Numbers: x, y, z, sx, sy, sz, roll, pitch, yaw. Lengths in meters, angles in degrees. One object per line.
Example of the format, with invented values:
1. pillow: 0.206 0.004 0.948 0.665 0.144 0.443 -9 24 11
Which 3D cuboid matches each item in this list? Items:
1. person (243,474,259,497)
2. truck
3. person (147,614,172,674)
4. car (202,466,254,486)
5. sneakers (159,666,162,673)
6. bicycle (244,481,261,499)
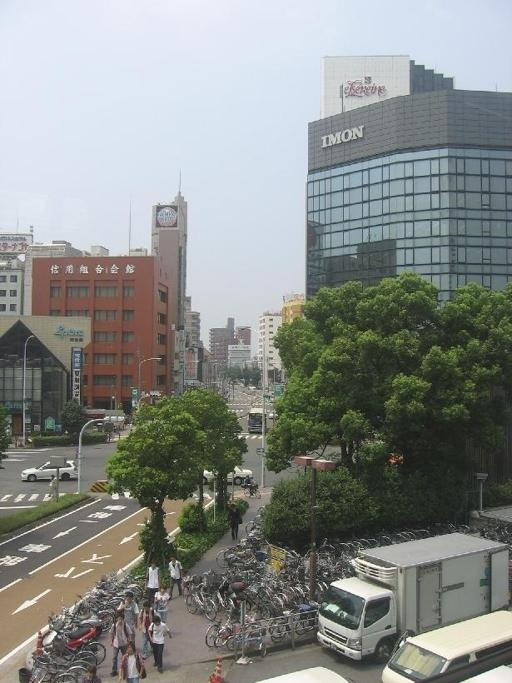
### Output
1. person: -0.218 7.013 51.249 0.494 0.574 0.969 -9 -16 -40
2. truck: 4.434 7.278 30.489 5.192 2.413 2.639 -4 2 -27
3. person: -2.657 8.160 28.834 0.534 1.527 0.930 2 -4 -8
4. car: -1.702 6.854 53.783 3.163 1.035 1.423 2 -7 -2
5. sneakers: -2.562 8.826 28.553 0.128 0.158 0.175 1 -4 -7
6. bicycle: -0.176 7.154 51.122 0.464 0.550 0.915 -9 -24 -41
